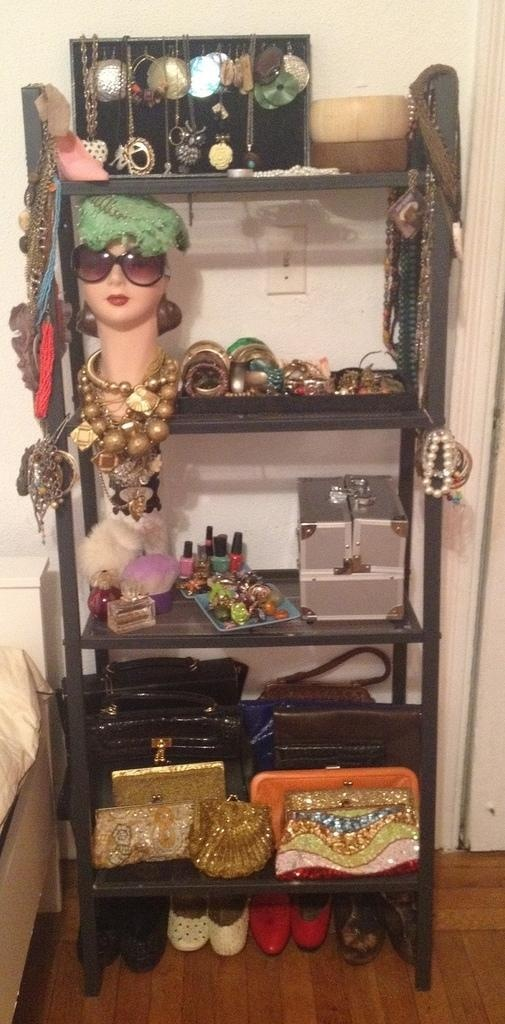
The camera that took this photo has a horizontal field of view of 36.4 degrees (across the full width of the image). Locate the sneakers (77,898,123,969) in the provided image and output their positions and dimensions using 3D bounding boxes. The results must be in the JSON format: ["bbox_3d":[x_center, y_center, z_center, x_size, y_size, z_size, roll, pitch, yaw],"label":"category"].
[{"bbox_3d":[-0.305,0.853,1.535,0.060,0.067,0.150,0,18,-2],"label":"sneakers"}]

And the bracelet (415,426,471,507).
[{"bbox_3d":[0.307,-0.074,1.226,0.081,0.112,0.041,-1,15,1],"label":"bracelet"}]

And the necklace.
[{"bbox_3d":[-0.045,-0.434,1.310,0.695,0.934,0.289,-1,14,-5],"label":"necklace"}]

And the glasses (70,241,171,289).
[{"bbox_3d":[-0.199,-0.374,1.170,0.131,0.061,0.064,-4,14,-13],"label":"glasses"}]

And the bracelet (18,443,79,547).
[{"bbox_3d":[-0.352,-0.035,1.321,0.028,0.208,0.157,-3,14,-33],"label":"bracelet"}]

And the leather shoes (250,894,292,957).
[{"bbox_3d":[0.038,0.853,1.584,0.041,0.056,0.127,-2,9,-2],"label":"leather shoes"}]

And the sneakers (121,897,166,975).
[{"bbox_3d":[-0.214,0.892,1.568,0.075,0.066,0.193,-7,-9,1],"label":"sneakers"}]

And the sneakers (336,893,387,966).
[{"bbox_3d":[0.234,0.869,1.622,0.096,0.064,0.230,-9,0,8],"label":"sneakers"}]

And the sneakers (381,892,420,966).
[{"bbox_3d":[0.312,0.859,1.586,0.042,0.052,0.138,-6,32,5],"label":"sneakers"}]
